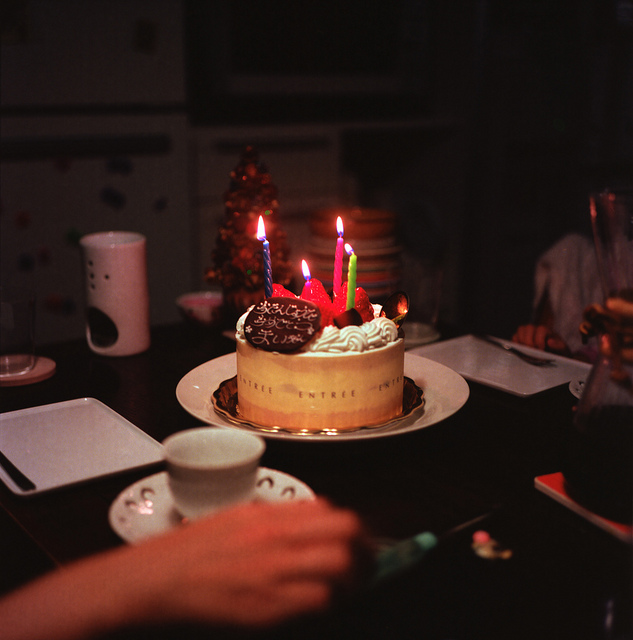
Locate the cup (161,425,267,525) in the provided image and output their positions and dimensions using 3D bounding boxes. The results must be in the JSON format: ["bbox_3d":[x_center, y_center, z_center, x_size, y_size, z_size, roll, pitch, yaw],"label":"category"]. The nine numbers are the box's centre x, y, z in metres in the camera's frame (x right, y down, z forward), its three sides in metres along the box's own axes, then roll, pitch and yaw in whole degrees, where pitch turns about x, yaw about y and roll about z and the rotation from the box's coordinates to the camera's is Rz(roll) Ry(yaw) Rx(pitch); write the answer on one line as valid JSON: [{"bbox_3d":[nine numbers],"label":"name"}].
[{"bbox_3d":[-0.088,0.142,0.562,0.085,0.081,0.091,0,10,0],"label":"cup"}]

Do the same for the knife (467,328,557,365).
[{"bbox_3d":[0.332,0.045,1.084,0.088,0.014,0.012,27,44,16],"label":"knife"}]
